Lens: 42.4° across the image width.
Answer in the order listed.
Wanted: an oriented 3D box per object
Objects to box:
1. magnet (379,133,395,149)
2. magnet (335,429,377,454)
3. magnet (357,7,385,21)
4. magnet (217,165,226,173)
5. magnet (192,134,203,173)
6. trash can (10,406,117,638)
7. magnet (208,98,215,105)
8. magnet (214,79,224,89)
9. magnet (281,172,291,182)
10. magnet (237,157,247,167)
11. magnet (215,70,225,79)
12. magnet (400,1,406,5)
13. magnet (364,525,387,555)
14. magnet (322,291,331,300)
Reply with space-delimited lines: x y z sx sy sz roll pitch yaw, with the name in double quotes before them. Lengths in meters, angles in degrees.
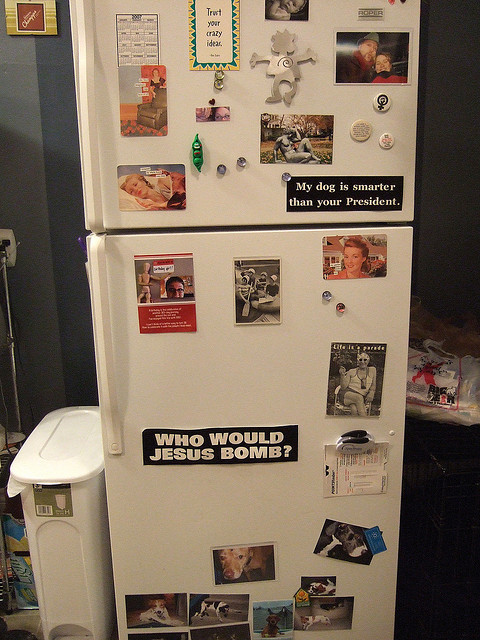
"magnet" 0.305 -0.371 1.283 0.031 0.030 0.008 2 18 7
"magnet" 0.262 0.277 1.404 0.083 0.048 0.026 -6 -4 -6
"magnet" 0.263 -0.613 1.241 0.056 0.025 0.005 -2 18 -5
"magnet" -0.037 -0.309 1.268 0.014 0.011 0.015 3 16 17
"magnet" -0.085 -0.338 1.261 0.023 0.075 0.018 -5 18 -12
"trash can" -0.473 0.603 1.862 0.301 0.624 0.293 -3 19 -11
"magnet" -0.056 -0.440 1.248 0.011 0.010 0.003 -3 8 1
"magnet" -0.042 -0.473 1.242 0.019 0.018 0.004 -1 4 0
"magnet" 0.096 -0.298 1.287 0.019 0.018 0.005 -2 2 0
"magnet" 0.003 -0.326 1.273 0.020 0.018 0.005 2 2 -6
"magnet" -0.040 -0.489 1.239 0.016 0.011 0.016 6 12 25
"magnet" 0.327 -0.636 1.243 0.009 0.006 0.002 -1 5 1
"magnet" 0.323 0.523 1.477 0.053 0.070 0.019 -12 5 0
"magnet" 0.188 -0.053 1.337 0.016 0.015 0.004 12 7 -4
